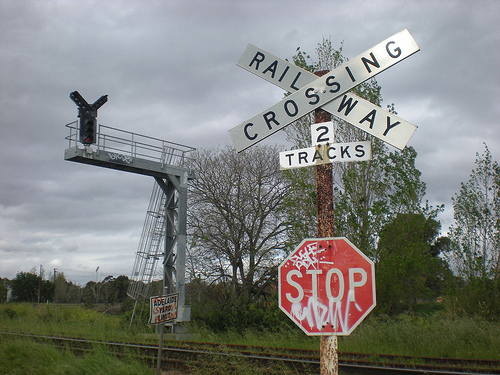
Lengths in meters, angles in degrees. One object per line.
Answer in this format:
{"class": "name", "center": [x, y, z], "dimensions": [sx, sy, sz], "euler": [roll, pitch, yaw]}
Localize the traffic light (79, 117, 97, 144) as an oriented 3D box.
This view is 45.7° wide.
{"class": "traffic light", "center": [-7.812, -3.005, 29.165], "dimensions": [0.595, 1.696, 0.565], "euler": [0, -21, -14]}
